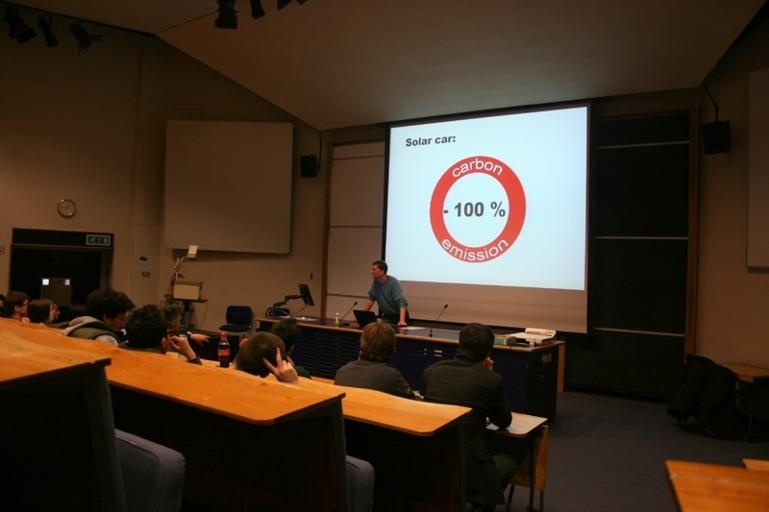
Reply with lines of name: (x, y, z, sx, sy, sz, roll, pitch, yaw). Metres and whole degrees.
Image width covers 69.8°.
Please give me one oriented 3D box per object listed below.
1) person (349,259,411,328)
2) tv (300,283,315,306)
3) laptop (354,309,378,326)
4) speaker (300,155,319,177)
person: (-0.037, 0.509, 7.546, 0.509, 1.535, 0.673, -1, -6, -39)
tv: (-1.133, 0.565, 7.965, 0.110, 0.354, 0.338, -5, -3, -34)
laptop: (-0.224, 0.737, 6.735, 0.294, 0.204, 0.261, 1, -5, 37)
speaker: (-1.226, -1.474, 8.999, 0.305, 0.450, 0.260, -1, -3, 27)
